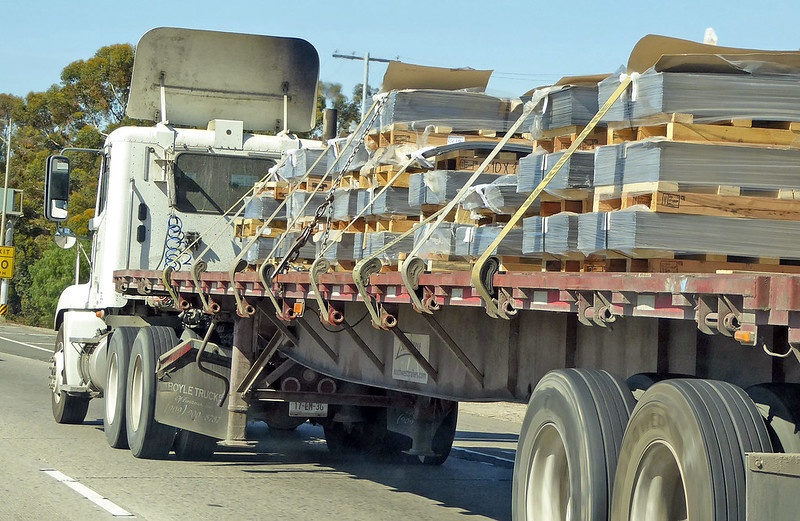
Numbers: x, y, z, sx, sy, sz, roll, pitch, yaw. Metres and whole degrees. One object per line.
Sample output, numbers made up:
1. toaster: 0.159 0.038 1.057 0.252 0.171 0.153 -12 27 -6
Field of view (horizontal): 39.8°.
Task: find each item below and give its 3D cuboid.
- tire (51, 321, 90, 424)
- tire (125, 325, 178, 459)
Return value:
1. tire: -4.619 1.582 15.518 0.566 1.405 1.311 1 7 -17
2. tire: -2.972 1.623 13.289 0.429 1.805 1.430 8 -3 -19
